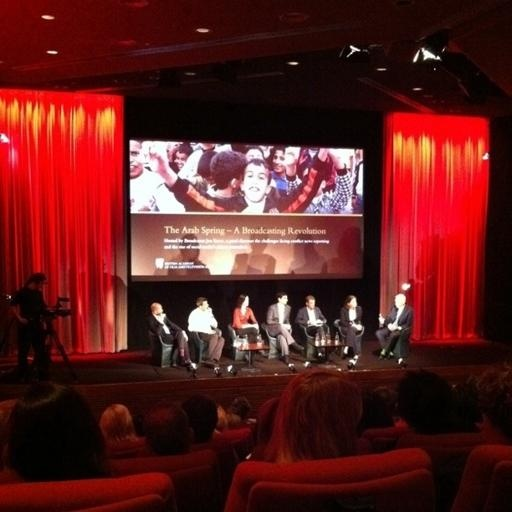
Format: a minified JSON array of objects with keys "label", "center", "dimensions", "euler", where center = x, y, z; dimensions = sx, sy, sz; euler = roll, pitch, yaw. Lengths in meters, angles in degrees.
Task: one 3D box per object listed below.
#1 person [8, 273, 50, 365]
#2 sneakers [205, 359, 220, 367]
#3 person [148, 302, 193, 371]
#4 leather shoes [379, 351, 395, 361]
[{"label":"person","center":[-2.391,0.705,5.009],"dimensions":[0.343,1.024,0.417],"euler":[-2,4,-24]},{"label":"sneakers","center":[-0.532,1.288,5.708],"dimensions":[0.218,0.083,0.066],"euler":[-2,-4,30]},{"label":"person","center":[-1.024,0.966,5.774],"dimensions":[0.478,0.828,0.347],"euler":[-10,7,26]},{"label":"leather shoes","center":[1.684,1.275,6.109],"dimensions":[0.078,0.100,0.148],"euler":[25,-20,32]}]
